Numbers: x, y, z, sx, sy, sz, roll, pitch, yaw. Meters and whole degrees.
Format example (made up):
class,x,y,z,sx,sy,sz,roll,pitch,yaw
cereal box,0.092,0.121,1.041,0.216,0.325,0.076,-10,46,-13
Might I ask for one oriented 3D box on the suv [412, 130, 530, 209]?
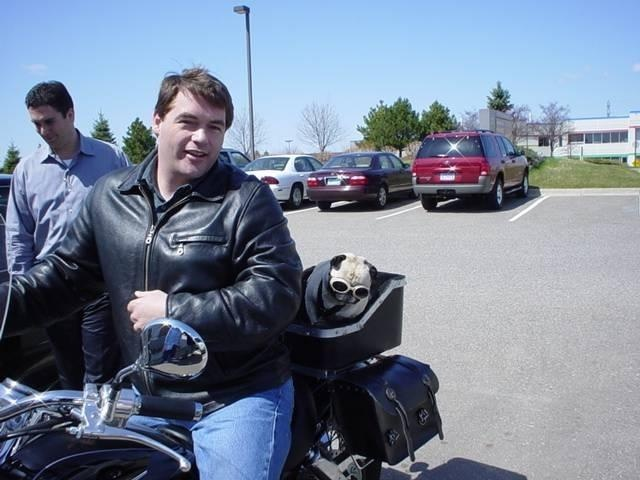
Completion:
class,x,y,z,sx,sy,sz,roll,pitch,yaw
suv,4.646,-2.306,15.173,1.970,1.720,3.776,1,12,30

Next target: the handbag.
class,x,y,z,sx,sy,sz,roll,pitch,yaw
handbag,0.342,0.740,2.346,0.381,0.528,0.639,-10,-6,37

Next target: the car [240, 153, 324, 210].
class,x,y,z,sx,sy,sz,roll,pitch,yaw
car,-1.351,-1.848,16.748,1.481,1.256,3.520,3,14,32

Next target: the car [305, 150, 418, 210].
class,x,y,z,sx,sy,sz,roll,pitch,yaw
car,1.344,-1.873,16.027,1.623,1.726,3.472,8,14,44

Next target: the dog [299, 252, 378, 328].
class,x,y,z,sx,sy,sz,roll,pitch,yaw
dog,0.077,0.207,2.548,0.286,0.345,0.454,16,3,-16
